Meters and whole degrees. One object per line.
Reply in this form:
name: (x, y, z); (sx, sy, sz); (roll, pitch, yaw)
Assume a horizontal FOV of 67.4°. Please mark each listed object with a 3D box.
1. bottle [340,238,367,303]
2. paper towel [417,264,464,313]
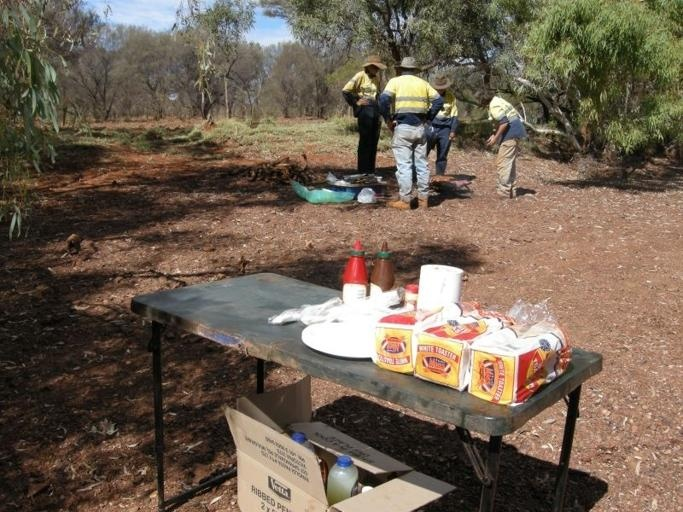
bottle: (0.078, 0.093, 2.918); (0.177, 0.327, 0.168); (6, 16, -2)
paper towel: (0.486, 0.164, 2.590); (0.267, 0.236, 0.237); (2, 4, -6)
